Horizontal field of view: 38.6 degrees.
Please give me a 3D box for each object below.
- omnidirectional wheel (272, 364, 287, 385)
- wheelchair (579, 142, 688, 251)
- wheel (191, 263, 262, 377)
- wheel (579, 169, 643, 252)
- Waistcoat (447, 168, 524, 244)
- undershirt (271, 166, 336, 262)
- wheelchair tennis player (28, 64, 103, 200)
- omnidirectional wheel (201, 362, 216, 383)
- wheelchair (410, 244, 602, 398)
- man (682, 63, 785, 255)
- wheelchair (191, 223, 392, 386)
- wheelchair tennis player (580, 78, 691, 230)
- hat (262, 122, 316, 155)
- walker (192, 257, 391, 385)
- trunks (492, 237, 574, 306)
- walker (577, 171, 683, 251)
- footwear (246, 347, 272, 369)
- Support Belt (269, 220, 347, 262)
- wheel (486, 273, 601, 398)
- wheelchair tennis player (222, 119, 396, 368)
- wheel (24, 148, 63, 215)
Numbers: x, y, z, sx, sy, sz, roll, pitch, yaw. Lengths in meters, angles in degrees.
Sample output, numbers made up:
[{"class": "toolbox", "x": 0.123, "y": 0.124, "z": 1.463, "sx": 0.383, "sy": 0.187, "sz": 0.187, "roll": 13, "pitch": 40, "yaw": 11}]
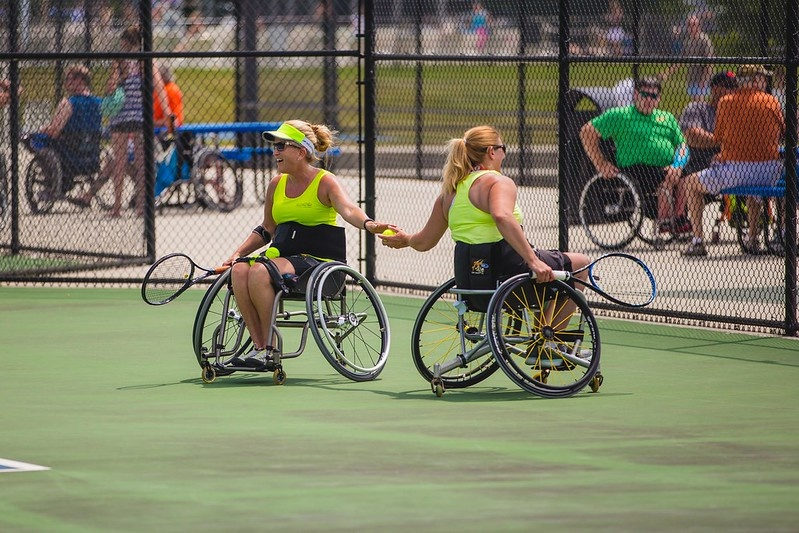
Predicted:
[{"class": "omnidirectional wheel", "x": -0.917, "y": 0.844, "z": 8.758, "sx": 0.067, "sy": 0.177, "sz": 0.156, "roll": 5, "pitch": 11, "yaw": 40}, {"class": "wheelchair", "x": 2.984, "y": -0.981, "z": 13.877, "sx": 0.848, "sy": 1.193, "sz": 1.284, "roll": -17, "pitch": 8, "yaw": -5}, {"class": "wheel", "x": -1.340, "y": 0.458, "z": 9.023, "sx": 0.178, "sy": 0.885, "sz": 0.917, "roll": -1, "pitch": -10, "yaw": 17}, {"class": "wheel", "x": 2.637, "y": -0.761, "z": 13.837, "sx": 0.931, "sy": 1.016, "sz": 0.096, "roll": 13, "pitch": 37, "yaw": 37}, {"class": "Waistcoat", "x": 0.595, "y": -0.453, "z": 8.562, "sx": 0.447, "sy": 0.455, "sz": 0.445, "roll": -8, "pitch": 4, "yaw": 32}, {"class": "undershirt", "x": -0.696, "y": -0.433, "z": 9.041, "sx": 0.650, "sy": 0.642, "sz": 0.520, "roll": 2, "pitch": 1, "yaw": 35}, {"class": "wheelchair tennis player", "x": -4.058, "y": -1.589, "z": 13.892, "sx": 0.885, "sy": 1.745, "sz": 0.960, "roll": 10, "pitch": 16, "yaw": 21}, {"class": "omnidirectional wheel", "x": -1.458, "y": 0.828, "z": 8.800, "sx": 0.102, "sy": 0.177, "sz": 0.105, "roll": -1, "pitch": 11, "yaw": 0}, {"class": "wheelchair", "x": 0.874, "y": 0.262, "z": 8.602, "sx": 1.398, "sy": 1.236, "sz": 1.019, "roll": 4, "pitch": 5, "yaw": -8}, {"class": "man", "x": 3.749, "y": -1.122, "z": 12.864, "sx": 0.740, "sy": 2.225, "sz": 1.781, "roll": -2, "pitch": 11, "yaw": -7}, {"class": "wheelchair", "x": -0.811, "y": 0.219, "z": 9.100, "sx": 1.011, "sy": 1.368, "sz": 1.118, "roll": -6, "pitch": -32, "yaw": 19}, {"class": "wheelchair tennis player", "x": 2.930, "y": -1.326, "z": 13.871, "sx": 1.288, "sy": 1.827, "sz": 1.018, "roll": 8, "pitch": 17, "yaw": 30}, {"class": "hat", "x": -0.851, "y": -0.939, "z": 8.900, "sx": 0.334, "sy": 0.117, "sz": 0.242, "roll": 25, "pitch": 0, "yaw": -30}, {"class": "walker", "x": -0.644, "y": 0.241, "z": 9.079, "sx": 1.047, "sy": 1.296, "sz": 0.947, "roll": -3, "pitch": -2, "yaw": -21}, {"class": "trunks", "x": 0.981, "y": 0.026, "z": 8.453, "sx": 0.560, "sy": 0.558, "sz": 0.388, "roll": -8, "pitch": 9, "yaw": -20}, {"class": "walker", "x": 2.749, "y": -0.668, "z": 13.954, "sx": 1.286, "sy": 1.281, "sz": 0.783, "roll": 2, "pitch": 7, "yaw": 16}, {"class": "footwear", "x": -1.078, "y": 0.713, "z": 8.728, "sx": 0.097, "sy": 0.120, "sz": 0.276, "roll": 6, "pitch": 2, "yaw": -37}, {"class": "Support Belt", "x": -0.700, "y": -0.188, "z": 8.964, "sx": 0.464, "sy": 0.238, "sz": 0.326, "roll": 4, "pitch": -3, "yaw": -9}, {"class": "wheel", "x": 1.035, "y": 0.505, "z": 8.328, "sx": 0.897, "sy": 0.907, "sz": 0.209, "roll": 32, "pitch": -39, "yaw": -25}, {"class": "wheelchair tennis player", "x": -0.823, "y": -0.192, "z": 8.881, "sx": 1.900, "sy": 1.900, "sz": 1.145, "roll": -3, "pitch": 0, "yaw": 27}, {"class": "wheel", "x": -4.237, "y": -0.994, "z": 13.643, "sx": 0.227, "sy": 0.870, "sz": 0.787, "roll": 0, "pitch": 1, "yaw": -23}]
